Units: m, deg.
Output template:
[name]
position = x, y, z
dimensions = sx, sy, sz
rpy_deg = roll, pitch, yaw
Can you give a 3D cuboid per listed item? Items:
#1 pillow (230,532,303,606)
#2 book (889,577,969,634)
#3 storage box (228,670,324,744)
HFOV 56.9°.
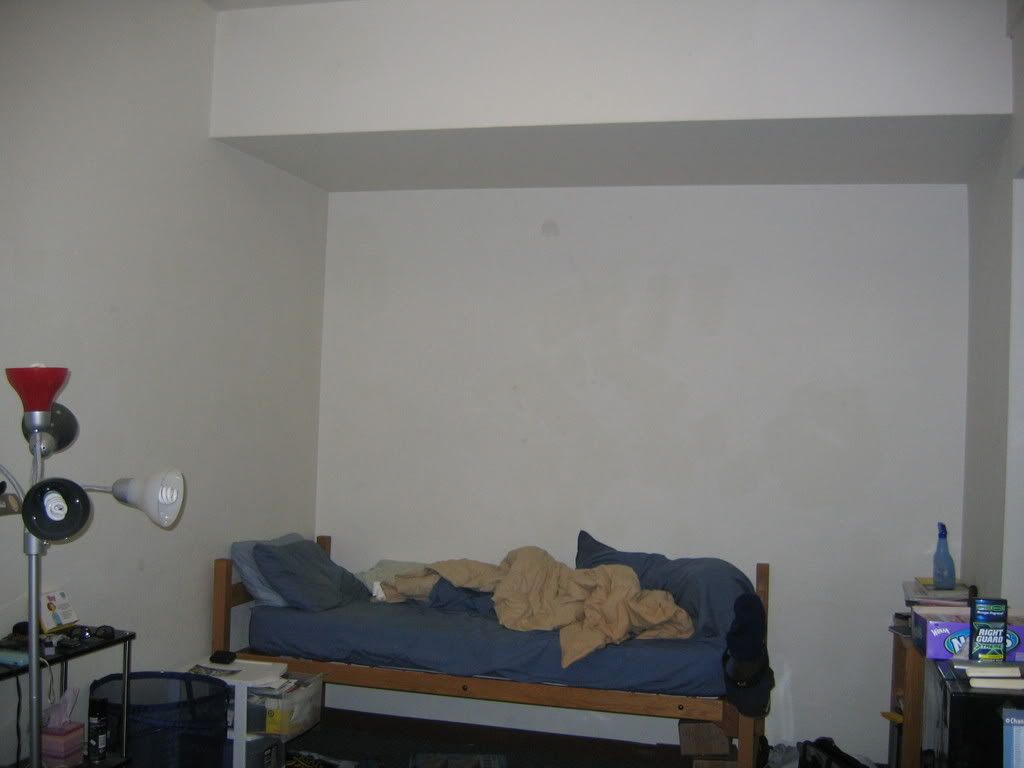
[pillow]
position = -1.440, 1.038, 5.253
dimensions = 0.329, 0.328, 0.098
rpy_deg = 5, -25, -38
[book]
position = 2.011, 1.052, 4.541
dimensions = 0.403, 0.145, 0.374
rpy_deg = 0, -5, -3
[storage box]
position = -1.293, 1.703, 5.043
dimensions = 0.523, 0.299, 0.536
rpy_deg = -2, -4, 32
